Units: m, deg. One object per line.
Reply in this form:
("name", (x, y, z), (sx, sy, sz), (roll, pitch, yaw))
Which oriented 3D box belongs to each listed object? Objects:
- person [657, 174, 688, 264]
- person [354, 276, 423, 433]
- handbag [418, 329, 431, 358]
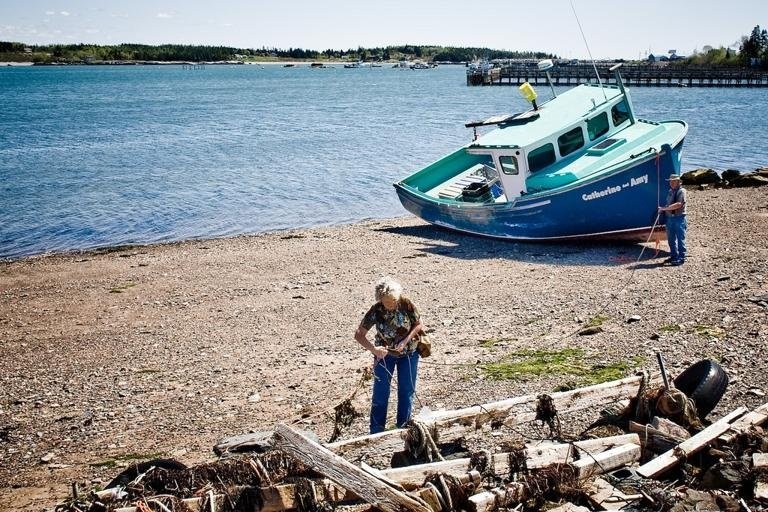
("person", (6.618, -0.809, 16.170), (0.553, 2.110, 0.750), (1, 19, 19))
("person", (0.148, 1.514, 10.538), (1.016, 2.433, 0.620), (-8, 18, -6))
("handbag", (0.595, 1.342, 10.658), (0.224, 0.322, 0.376), (0, 11, -3))
